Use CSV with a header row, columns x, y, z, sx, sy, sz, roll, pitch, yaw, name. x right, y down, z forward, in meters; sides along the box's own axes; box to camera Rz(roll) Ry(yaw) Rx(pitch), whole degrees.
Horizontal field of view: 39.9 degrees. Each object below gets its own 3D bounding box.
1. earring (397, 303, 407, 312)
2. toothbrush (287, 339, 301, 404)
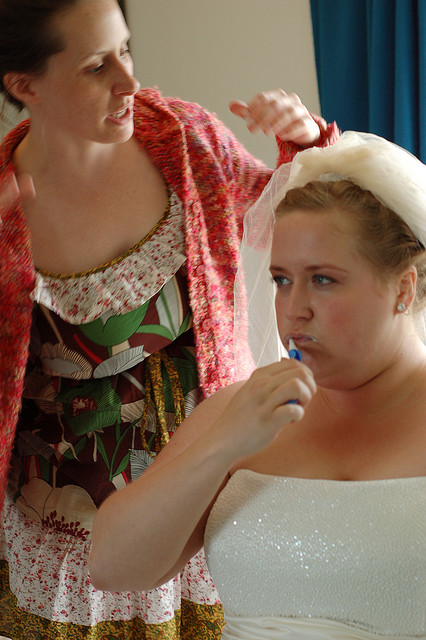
x,y,z,sx,sy,sz,roll,pitch,yaw,name
0.225,-0.015,0.705,0.010,0.009,0.010,4,43,17,earring
0.083,0.054,0.604,0.007,0.018,0.062,-14,68,49,toothbrush
